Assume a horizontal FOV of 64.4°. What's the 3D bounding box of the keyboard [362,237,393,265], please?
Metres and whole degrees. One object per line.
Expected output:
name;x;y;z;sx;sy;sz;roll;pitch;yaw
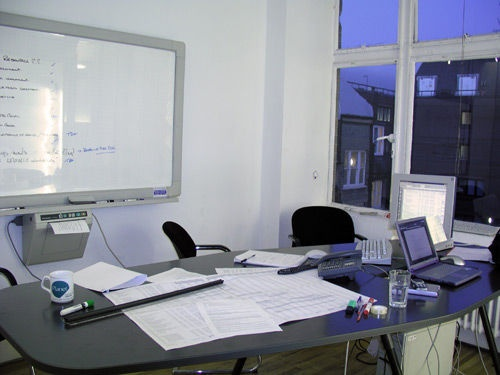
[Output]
keyboard;0.850;0.417;2.673;0.214;0.055;0.301;-7;25;24

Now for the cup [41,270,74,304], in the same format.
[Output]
cup;-0.947;0.487;1.947;0.147;0.133;0.096;4;4;-6

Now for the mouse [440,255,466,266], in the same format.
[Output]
mouse;1.306;0.466;2.562;0.063;0.032;0.093;-1;4;-29

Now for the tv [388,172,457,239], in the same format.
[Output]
tv;1.215;0.129;2.800;0.505;0.493;0.276;6;7;36

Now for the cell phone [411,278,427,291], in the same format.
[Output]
cell phone;0.923;0.536;2.190;0.044;0.022;0.064;2;8;-3

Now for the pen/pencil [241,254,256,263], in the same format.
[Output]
pen/pencil;-0.010;0.462;2.581;0.028;0.018;0.211;9;9;19

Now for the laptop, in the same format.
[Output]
laptop;1.143;0.373;2.417;0.434;0.298;0.455;-1;6;-27
